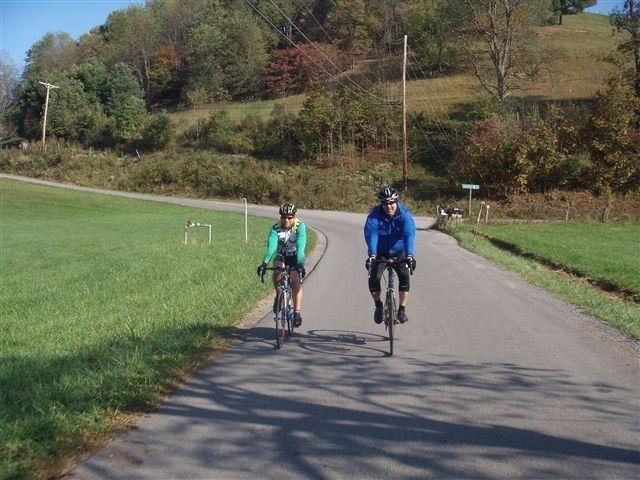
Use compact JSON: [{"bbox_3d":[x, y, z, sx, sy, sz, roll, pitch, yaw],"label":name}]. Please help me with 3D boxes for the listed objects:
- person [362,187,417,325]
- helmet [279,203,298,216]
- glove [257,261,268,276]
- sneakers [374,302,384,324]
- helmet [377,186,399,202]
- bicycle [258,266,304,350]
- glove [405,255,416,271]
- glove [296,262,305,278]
[{"bbox_3d":[1.923,0.485,20.056,1.329,3.868,0.817,0,9,4],"label":"person"},{"bbox_3d":[-0.892,-0.845,20.140,0.422,0.390,0.387,-3,10,-13],"label":"helmet"},{"bbox_3d":[-1.574,0.818,20.039,0.250,0.397,0.522,0,10,6],"label":"glove"},{"bbox_3d":[1.630,2.028,20.316,0.191,0.670,0.233,0,1,13],"label":"sneakers"},{"bbox_3d":[1.883,-1.250,19.954,0.356,0.348,0.625,-1,6,7],"label":"helmet"},{"bbox_3d":[-1.026,1.777,20.168,0.922,2.135,1.026,-4,10,-22],"label":"bicycle"},{"bbox_3d":[2.478,0.624,19.761,0.309,0.202,0.256,1,11,34],"label":"glove"},{"bbox_3d":[-0.536,0.841,20.219,0.210,0.438,0.244,-2,9,-11],"label":"glove"}]
